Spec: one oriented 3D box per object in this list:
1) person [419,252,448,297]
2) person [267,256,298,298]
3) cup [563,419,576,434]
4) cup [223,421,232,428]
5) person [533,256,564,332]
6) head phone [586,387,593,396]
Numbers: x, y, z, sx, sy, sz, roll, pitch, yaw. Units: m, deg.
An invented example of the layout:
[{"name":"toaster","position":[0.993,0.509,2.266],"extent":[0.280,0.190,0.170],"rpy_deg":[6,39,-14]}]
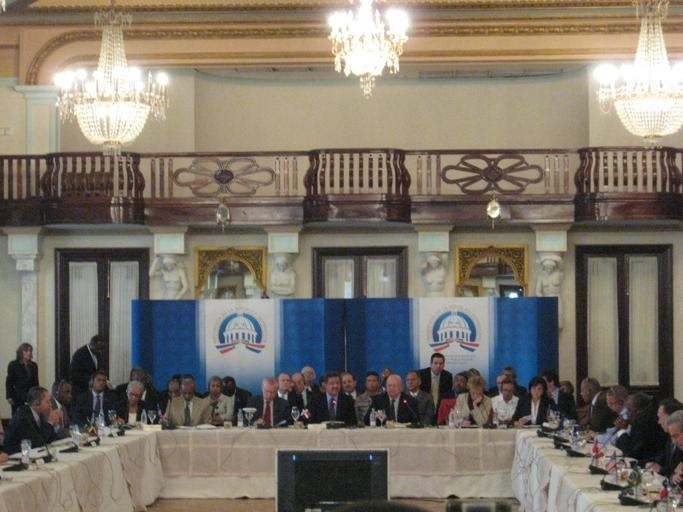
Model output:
[{"name":"person","position":[1.715,0.354,33.634],"extent":[0.507,0.819,0.322],"rpy_deg":[-1,-1,3]},{"name":"person","position":[-1.155,0.390,33.864],"extent":[0.515,0.808,0.523],"rpy_deg":[-1,-1,-2]},{"name":"cup","position":[3.702,2.793,29.143],"extent":[0.201,0.410,0.213],"rpy_deg":[-2,1,0]},{"name":"cup","position":[-1.906,2.802,29.527],"extent":[0.099,0.080,0.105],"rpy_deg":[0,-11,0]},{"name":"person","position":[3.895,0.665,33.595],"extent":[0.523,1.431,0.473],"rpy_deg":[-1,-1,7]},{"name":"head phone","position":[4.147,2.284,29.960],"extent":[0.087,0.136,0.031],"rpy_deg":[5,-2,14]}]
